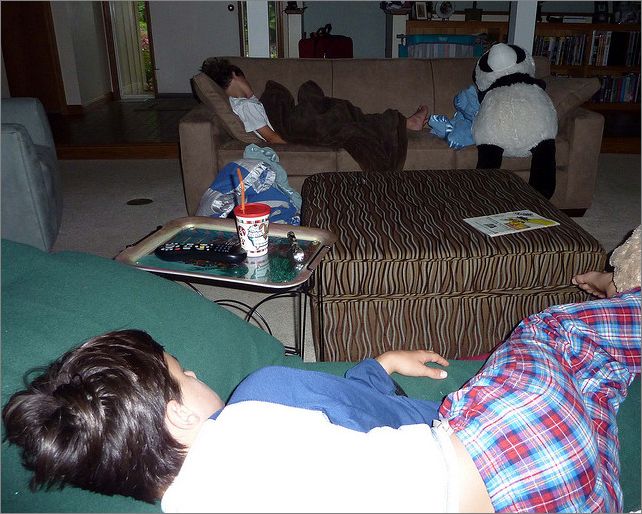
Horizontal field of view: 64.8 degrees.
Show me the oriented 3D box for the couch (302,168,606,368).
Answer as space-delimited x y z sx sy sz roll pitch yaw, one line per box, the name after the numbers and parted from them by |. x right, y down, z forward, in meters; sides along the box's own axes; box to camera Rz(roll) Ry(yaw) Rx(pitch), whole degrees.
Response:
0.450 0.043 2.104 0.862 0.533 0.830 -1 25 -4 | couch

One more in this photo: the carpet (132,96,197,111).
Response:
-1.967 -1.957 6.470 0.594 0.022 0.512 -2 27 -1 | carpet

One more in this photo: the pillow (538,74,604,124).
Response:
1.533 -0.998 3.119 0.327 0.095 0.323 -28 36 -35 | pillow

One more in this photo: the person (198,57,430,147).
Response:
-0.030 -0.947 3.349 1.529 0.519 0.499 2 4 14 | person

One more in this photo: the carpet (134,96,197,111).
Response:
-1.953 -1.947 6.451 0.591 0.021 0.510 -3 28 0 | carpet
